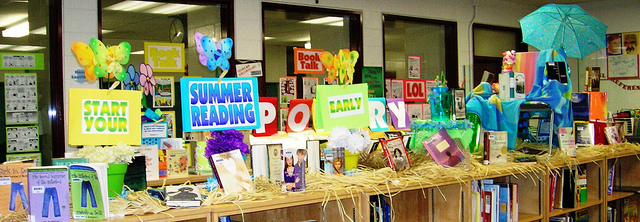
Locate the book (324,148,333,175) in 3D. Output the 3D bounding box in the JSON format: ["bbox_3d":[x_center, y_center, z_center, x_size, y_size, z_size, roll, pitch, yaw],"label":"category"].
[{"bbox_3d":[0.171,0.979,8.606,0.167,0.491,0.038,-4,0,0],"label":"book"}]

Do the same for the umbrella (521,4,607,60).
[{"bbox_3d":[5.672,-1.786,10.574,1.500,1.513,0.633,-47,-8,0],"label":"umbrella"}]

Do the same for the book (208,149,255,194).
[{"bbox_3d":[-1.670,1.147,8.252,0.969,0.750,0.211,-15,-5,-27],"label":"book"}]

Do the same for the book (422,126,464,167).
[{"bbox_3d":[2.441,0.751,8.930,0.915,0.851,0.190,-41,4,-34],"label":"book"}]

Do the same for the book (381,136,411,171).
[{"bbox_3d":[1.515,0.850,8.715,0.621,0.668,0.088,-3,-1,-17],"label":"book"}]

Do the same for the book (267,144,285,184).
[{"bbox_3d":[-0.821,1.015,8.418,0.327,0.726,0.326,-4,0,-6],"label":"book"}]
